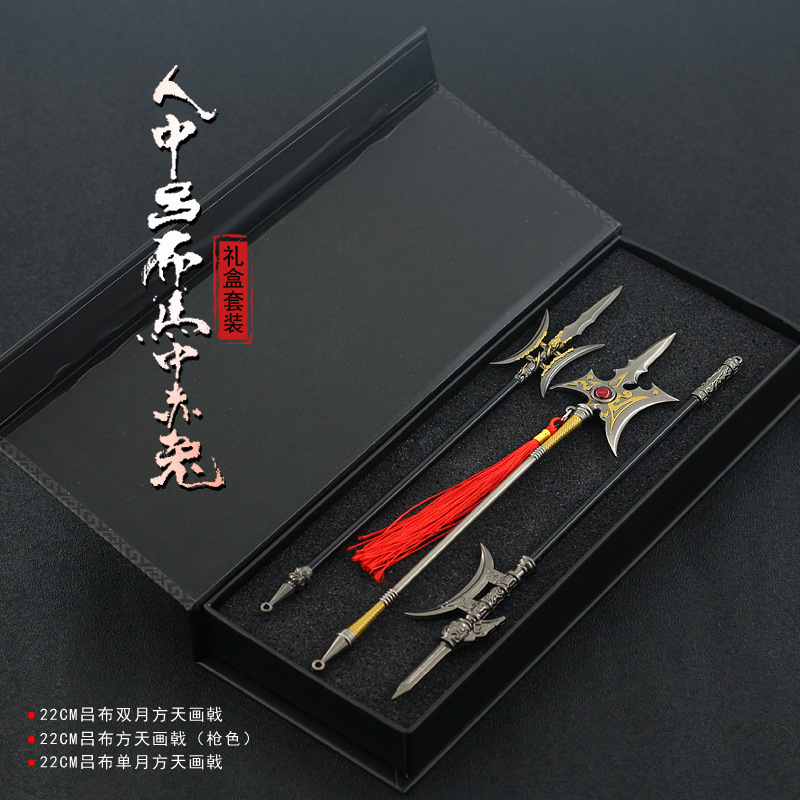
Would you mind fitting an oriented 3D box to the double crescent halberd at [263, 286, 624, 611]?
[{"bbox_3d":[0.085,0.156,2.695,1.217,0.200,0.091,-38,-43,-22],"label":"double crescent halberd"}]

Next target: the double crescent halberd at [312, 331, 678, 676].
[{"bbox_3d":[0.331,0.216,2.707,1.427,0.451,0.059,-41,-42,-14],"label":"double crescent halberd"}]
